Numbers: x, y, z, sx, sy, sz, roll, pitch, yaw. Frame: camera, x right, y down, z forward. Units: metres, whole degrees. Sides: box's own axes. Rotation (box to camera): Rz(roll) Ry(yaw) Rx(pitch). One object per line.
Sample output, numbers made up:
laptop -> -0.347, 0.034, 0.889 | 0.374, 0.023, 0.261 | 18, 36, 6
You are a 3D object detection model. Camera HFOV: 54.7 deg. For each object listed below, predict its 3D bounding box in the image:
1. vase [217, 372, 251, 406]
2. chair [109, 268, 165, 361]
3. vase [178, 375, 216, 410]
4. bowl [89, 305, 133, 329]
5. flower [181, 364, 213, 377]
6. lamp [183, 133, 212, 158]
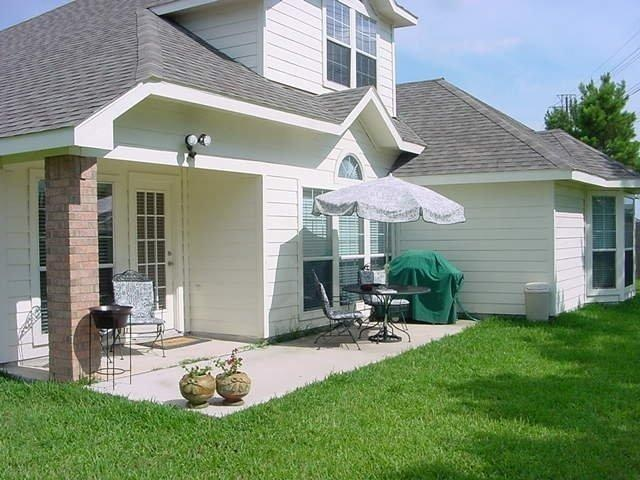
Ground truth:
vase -> -1.110, 1.918, 8.175 | 0.412, 0.335, 0.411 | 1, 2, 18
chair -> -3.163, 1.258, 10.807 | 0.844, 1.402, 1.622 | -2, 6, -15
vase -> -1.589, 1.929, 7.961 | 0.405, 0.350, 0.430 | -1, -6, 33
bowl -> -2.966, 1.095, 8.753 | 0.557, 0.322, 0.395 | 1, 6, 15
flower -> -1.710, 1.819, 8.612 | 0.352, 0.157, 0.348 | 3, -5, -26
lamp -> -2.015, -1.591, 10.321 | 0.487, 0.426, 0.410 | -3, 7, -25
